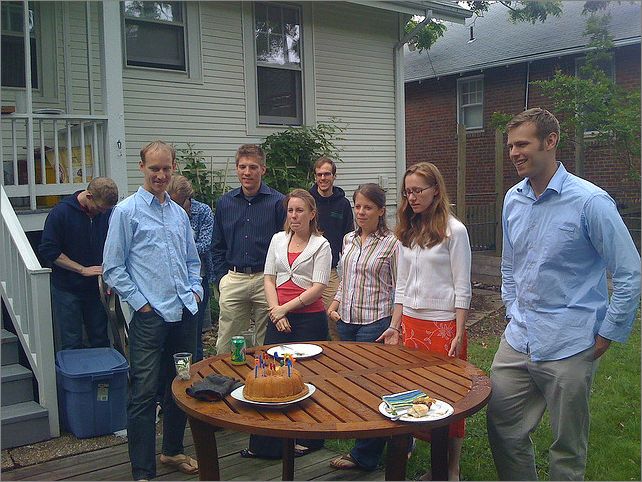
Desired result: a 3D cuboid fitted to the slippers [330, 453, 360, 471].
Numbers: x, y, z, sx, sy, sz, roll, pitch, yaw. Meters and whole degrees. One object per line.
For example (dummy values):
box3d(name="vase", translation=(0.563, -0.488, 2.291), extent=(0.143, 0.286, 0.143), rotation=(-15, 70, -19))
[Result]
box3d(name="slippers", translation=(0.189, 1.769, 4.335), extent=(0.228, 0.063, 0.098), rotation=(4, 0, 0))

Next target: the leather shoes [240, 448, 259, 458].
box3d(name="leather shoes", translation=(-0.594, 1.771, 4.529), extent=(0.151, 0.045, 0.060), rotation=(7, 0, 4))

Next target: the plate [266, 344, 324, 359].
box3d(name="plate", translation=(-0.162, 0.790, 3.901), extent=(0.212, 0.032, 0.217), rotation=(1, 4, 6))

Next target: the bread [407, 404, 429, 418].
box3d(name="bread", translation=(0.524, 0.921, 2.944), extent=(0.083, 0.034, 0.059), rotation=(-14, 29, -11))

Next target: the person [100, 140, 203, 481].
box3d(name="person", translation=(-1.239, 0.545, 4.203), extent=(0.771, 2.593, 0.650), rotation=(-5, 12, -32))

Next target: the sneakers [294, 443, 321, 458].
box3d(name="sneakers", translation=(-0.130, 1.767, 4.604), extent=(0.269, 0.073, 0.097), rotation=(5, -3, -28))

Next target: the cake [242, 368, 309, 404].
box3d(name="cake", translation=(-0.271, 0.827, 3.139), extent=(0.374, 0.181, 0.171), rotation=(1, 10, -1))

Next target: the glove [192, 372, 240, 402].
box3d(name="glove", translation=(-0.642, 0.886, 3.299), extent=(0.232, 0.075, 0.322), rotation=(7, 11, 29))

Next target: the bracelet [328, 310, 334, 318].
box3d(name="bracelet", translation=(0.090, 0.632, 4.665), extent=(0.044, 0.060, 0.022), rotation=(-6, 2, 18))

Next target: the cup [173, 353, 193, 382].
box3d(name="cup", translation=(-0.884, 0.813, 3.505), extent=(0.147, 0.161, 0.147), rotation=(0, 4, 0))
